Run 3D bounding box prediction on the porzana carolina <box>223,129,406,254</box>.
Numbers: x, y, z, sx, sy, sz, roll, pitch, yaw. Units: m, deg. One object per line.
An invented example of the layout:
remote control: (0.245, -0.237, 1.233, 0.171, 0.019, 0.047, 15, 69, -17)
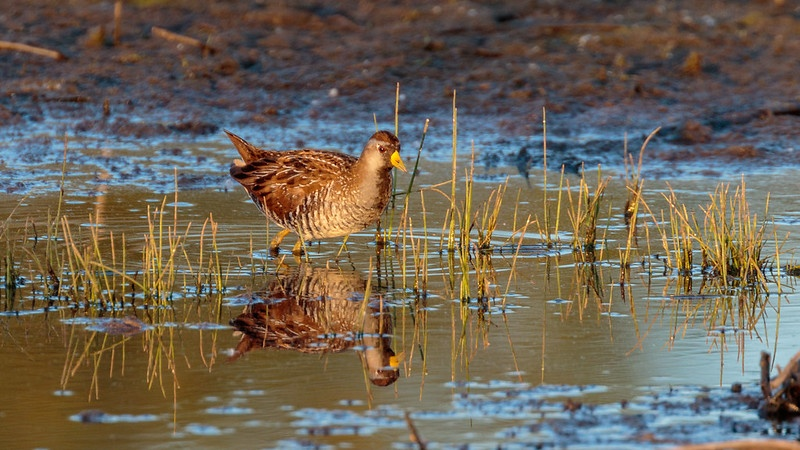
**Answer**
porzana carolina: (-1.046, -0.412, 13.307, 2.461, 1.145, 0.673, -3, -2, 31)
